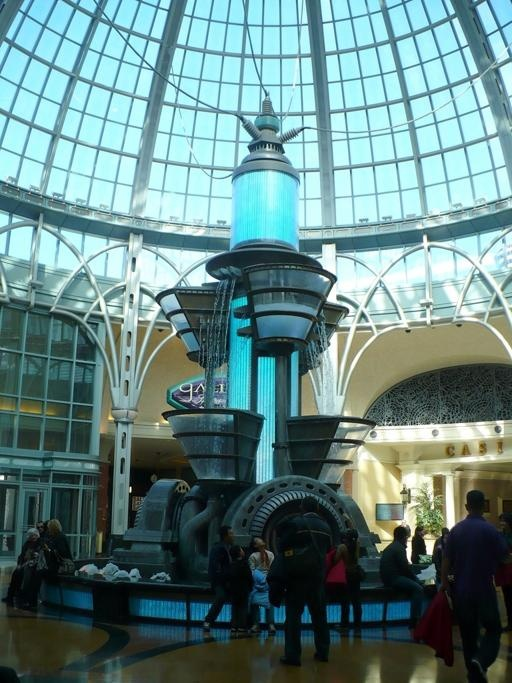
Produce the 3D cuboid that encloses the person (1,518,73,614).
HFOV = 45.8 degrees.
[{"bbox_3d":[-3.305,3.371,9.294,0.821,1.220,1.335,11,-21,-34],"label":"person"}]

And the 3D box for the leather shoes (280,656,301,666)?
[{"bbox_3d":[0.274,2.594,4.989,0.174,0.069,0.064,2,-10,37],"label":"leather shoes"}]

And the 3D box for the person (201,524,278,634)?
[{"bbox_3d":[-0.267,2.702,6.983,0.544,1.115,0.872,-6,-18,16],"label":"person"}]

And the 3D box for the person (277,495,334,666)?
[{"bbox_3d":[0.425,2.017,5.147,0.447,1.344,0.560,-3,-18,5],"label":"person"}]

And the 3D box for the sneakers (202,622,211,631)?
[{"bbox_3d":[-0.530,3.061,6.526,0.052,0.066,0.146,2,-37,4],"label":"sneakers"}]

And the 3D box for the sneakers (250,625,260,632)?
[{"bbox_3d":[-0.007,3.153,6.686,0.070,0.109,0.065,8,-30,-11],"label":"sneakers"}]

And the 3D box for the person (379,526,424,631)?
[{"bbox_3d":[1.754,2.843,7.327,0.493,1.186,1.095,-5,-17,11],"label":"person"}]

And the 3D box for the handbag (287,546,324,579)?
[{"bbox_3d":[0.405,1.801,4.958,0.387,0.255,0.206,1,-37,0],"label":"handbag"}]

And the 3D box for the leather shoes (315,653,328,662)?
[{"bbox_3d":[0.562,2.685,5.163,0.050,0.087,0.133,6,-10,-26],"label":"leather shoes"}]
